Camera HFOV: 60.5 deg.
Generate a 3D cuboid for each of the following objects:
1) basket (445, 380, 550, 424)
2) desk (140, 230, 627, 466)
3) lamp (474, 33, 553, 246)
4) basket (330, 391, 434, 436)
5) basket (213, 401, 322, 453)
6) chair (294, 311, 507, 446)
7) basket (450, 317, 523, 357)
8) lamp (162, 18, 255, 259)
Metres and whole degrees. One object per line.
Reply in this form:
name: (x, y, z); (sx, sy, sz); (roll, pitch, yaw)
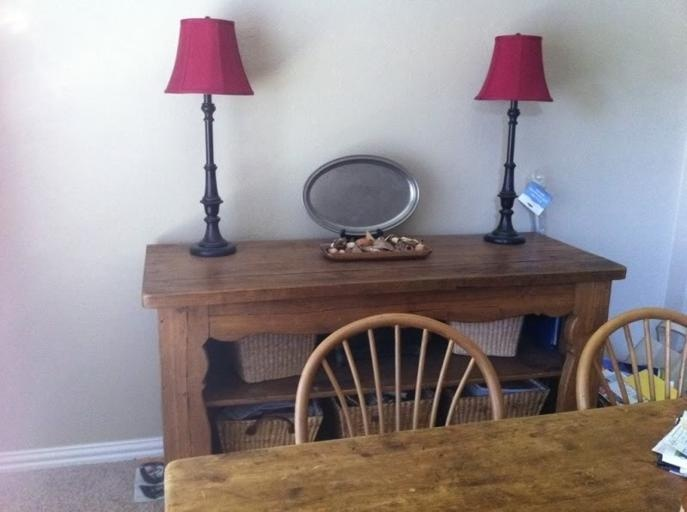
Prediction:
basket: (0.638, 0.587, 2.389); (0.354, 0.125, 0.241); (-1, 3, -11)
desk: (0.169, 0.477, 2.501); (1.826, 0.977, 0.671); (-2, 13, -13)
lamp: (0.722, -0.495, 2.544); (0.299, 0.887, 0.323); (1, 7, 11)
basket: (0.135, 0.559, 2.080); (0.282, 0.188, 0.148); (-3, 16, -6)
basket: (-0.300, 0.631, 2.270); (0.301, 0.105, 0.211); (-3, 4, -15)
chair: (0.189, 0.426, 2.023); (0.466, 0.541, 0.402); (-6, 12, -9)
basket: (0.621, 0.392, 2.503); (0.285, 0.221, 0.209); (2, 42, 18)
lamp: (-0.506, -0.449, 2.269); (0.316, 0.901, 0.237); (-2, 7, -9)
